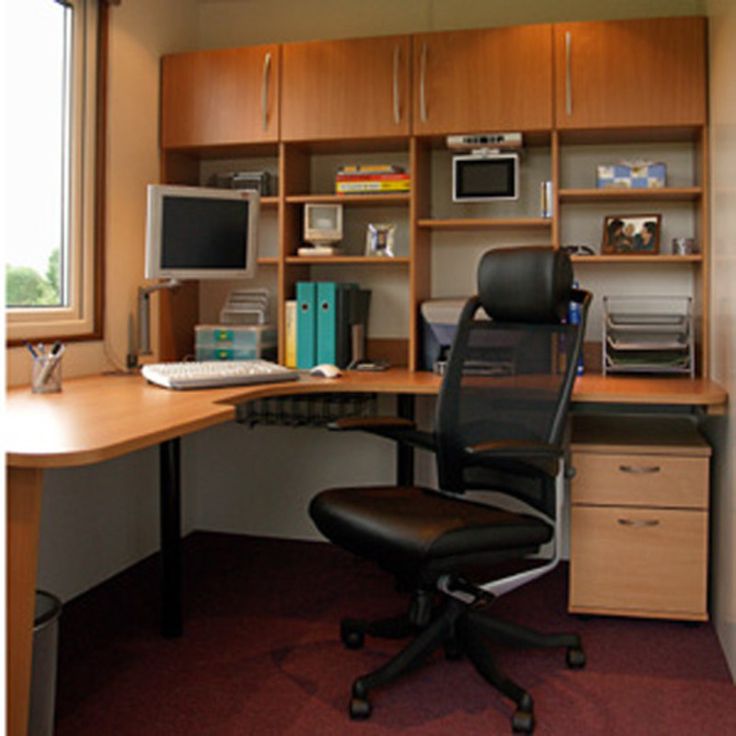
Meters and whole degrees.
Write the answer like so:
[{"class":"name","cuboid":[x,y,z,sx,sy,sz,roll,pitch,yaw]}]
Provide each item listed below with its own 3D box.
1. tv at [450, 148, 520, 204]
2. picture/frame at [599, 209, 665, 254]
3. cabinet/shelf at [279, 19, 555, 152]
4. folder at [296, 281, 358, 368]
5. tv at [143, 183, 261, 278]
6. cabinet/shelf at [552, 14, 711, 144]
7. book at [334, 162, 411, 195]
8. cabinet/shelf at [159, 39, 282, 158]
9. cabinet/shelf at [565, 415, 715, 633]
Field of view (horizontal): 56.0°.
[{"class":"tv","cuboid":[0.481,-0.761,2.860,0.272,0.190,0.147,0,-2,6]},{"class":"picture/frame","cuboid":[1.076,-0.547,2.805,0.214,0.180,0.022,1,-7,15]},{"class":"cabinet/shelf","cuboid":[0.190,-1.140,2.884,1.098,0.414,0.222,0,0,9]},{"class":"folder","cuboid":[-0.121,-0.187,2.875,0.310,0.447,0.323,1,4,9]},{"class":"tv","cuboid":[-0.656,-0.531,2.722,0.418,0.317,0.039,-3,5,-43]},{"class":"cabinet/shelf","cuboid":[0.971,-1.134,2.750,0.567,0.393,0.316,-5,9,-4]},{"class":"book","cuboid":[0.041,-0.793,2.896,0.338,0.133,0.114,2,6,22]},{"class":"cabinet/shelf","cuboid":[-0.735,-1.235,3.071,0.589,0.392,0.320,-17,42,-33]},{"class":"cabinet/shelf","cuboid":[0.834,0.479,2.598,0.435,0.626,0.687,0,11,6]}]
